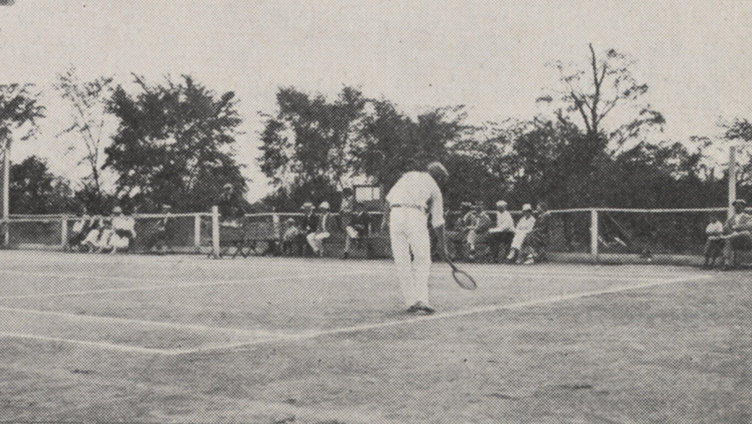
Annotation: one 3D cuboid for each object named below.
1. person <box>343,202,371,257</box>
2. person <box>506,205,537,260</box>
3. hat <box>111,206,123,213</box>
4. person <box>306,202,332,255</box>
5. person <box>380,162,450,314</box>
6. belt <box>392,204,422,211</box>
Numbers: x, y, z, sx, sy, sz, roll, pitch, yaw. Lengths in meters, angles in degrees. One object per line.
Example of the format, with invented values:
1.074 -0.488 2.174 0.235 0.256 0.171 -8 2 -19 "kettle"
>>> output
-0.738 0.716 30.063 1.072 0.918 2.866 24 4 -2 "person"
4.793 0.692 26.869 0.952 1.965 1.588 -2 -4 11 "person"
-10.740 -0.109 33.627 0.288 0.255 0.070 0 -4 -7 "hat"
-2.098 0.640 29.930 0.874 2.029 1.269 -1 -4 -5 "person"
0.701 0.423 14.190 1.061 2.680 0.548 -2 -4 10 "person"
0.544 -0.080 14.168 0.515 0.120 0.121 -1 -4 2 "belt"
